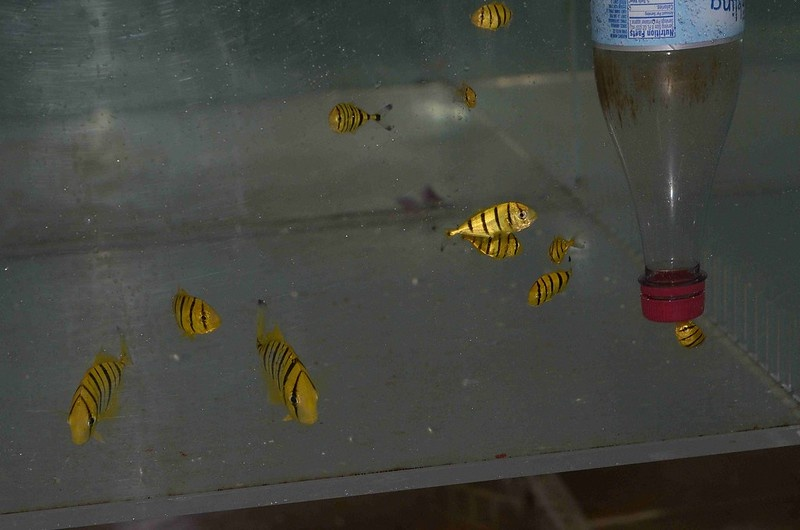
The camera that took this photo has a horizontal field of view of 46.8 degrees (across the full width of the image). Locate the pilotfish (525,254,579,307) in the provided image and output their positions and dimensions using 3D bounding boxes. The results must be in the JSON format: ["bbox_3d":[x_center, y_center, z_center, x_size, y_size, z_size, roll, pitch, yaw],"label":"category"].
[{"bbox_3d":[0.422,0.058,2.603,0.200,0.101,0.052,-33,27,-18],"label":"pilotfish"}]

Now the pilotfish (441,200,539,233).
[{"bbox_3d":[0.239,-0.118,2.500,0.254,0.117,0.097,-1,21,18],"label":"pilotfish"}]

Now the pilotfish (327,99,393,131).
[{"bbox_3d":[-0.110,-0.397,2.522,0.170,0.082,0.076,0,-3,-29],"label":"pilotfish"}]

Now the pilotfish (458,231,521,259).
[{"bbox_3d":[0.256,-0.050,2.570,0.160,0.095,0.068,-8,20,2],"label":"pilotfish"}]

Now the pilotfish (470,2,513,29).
[{"bbox_3d":[0.240,-0.662,2.471,0.109,0.076,0.044,-5,20,8],"label":"pilotfish"}]

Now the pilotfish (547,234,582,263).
[{"bbox_3d":[0.457,-0.044,2.606,0.104,0.075,0.024,-26,18,-17],"label":"pilotfish"}]

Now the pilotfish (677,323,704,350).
[{"bbox_3d":[0.798,0.198,2.575,0.033,0.077,0.044,-29,14,9],"label":"pilotfish"}]
